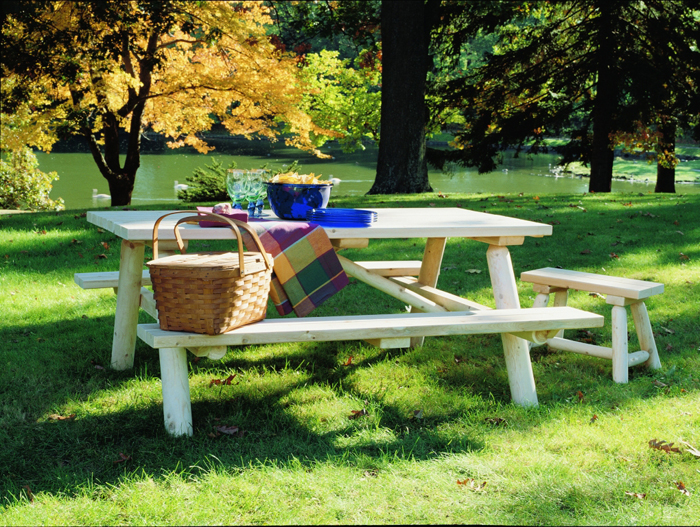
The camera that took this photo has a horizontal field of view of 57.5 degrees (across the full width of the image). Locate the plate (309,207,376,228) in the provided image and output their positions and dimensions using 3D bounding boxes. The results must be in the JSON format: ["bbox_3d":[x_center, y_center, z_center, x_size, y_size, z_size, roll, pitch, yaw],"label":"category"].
[{"bbox_3d":[-0.050,-0.308,4.382,0.460,0.130,0.254,-2,6,-3],"label":"plate"}]

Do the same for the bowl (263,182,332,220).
[{"bbox_3d":[-0.352,-0.444,4.654,0.636,0.290,0.518,-1,6,-3],"label":"bowl"}]

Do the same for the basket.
[{"bbox_3d":[-0.846,0.042,3.888,0.731,0.723,0.573,-2,7,-4],"label":"basket"}]
